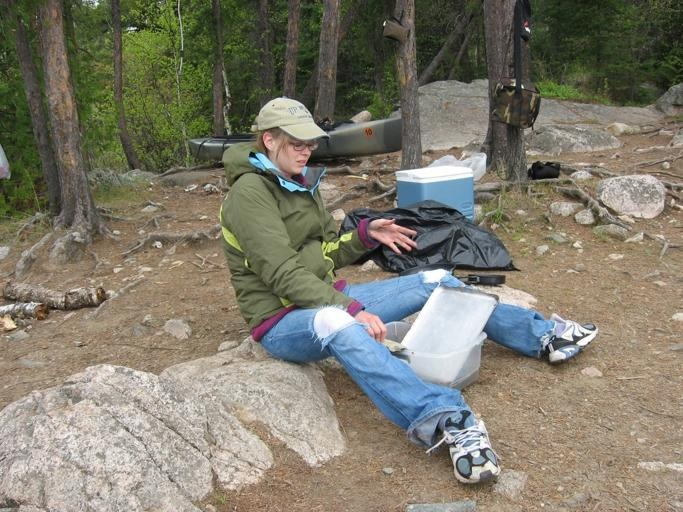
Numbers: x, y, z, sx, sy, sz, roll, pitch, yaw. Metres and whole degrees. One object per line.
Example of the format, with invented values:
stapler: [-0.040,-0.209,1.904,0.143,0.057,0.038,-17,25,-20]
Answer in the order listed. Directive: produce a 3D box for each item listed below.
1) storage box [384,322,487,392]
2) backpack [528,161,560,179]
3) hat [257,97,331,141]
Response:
storage box: [0.664,0.753,4.088,0.642,0.252,0.498,-8,13,-39]
backpack: [2.899,-1.222,8.477,0.308,0.147,0.366,1,12,11]
hat: [-0.339,-0.985,4.122,0.556,0.248,0.367,17,30,32]
